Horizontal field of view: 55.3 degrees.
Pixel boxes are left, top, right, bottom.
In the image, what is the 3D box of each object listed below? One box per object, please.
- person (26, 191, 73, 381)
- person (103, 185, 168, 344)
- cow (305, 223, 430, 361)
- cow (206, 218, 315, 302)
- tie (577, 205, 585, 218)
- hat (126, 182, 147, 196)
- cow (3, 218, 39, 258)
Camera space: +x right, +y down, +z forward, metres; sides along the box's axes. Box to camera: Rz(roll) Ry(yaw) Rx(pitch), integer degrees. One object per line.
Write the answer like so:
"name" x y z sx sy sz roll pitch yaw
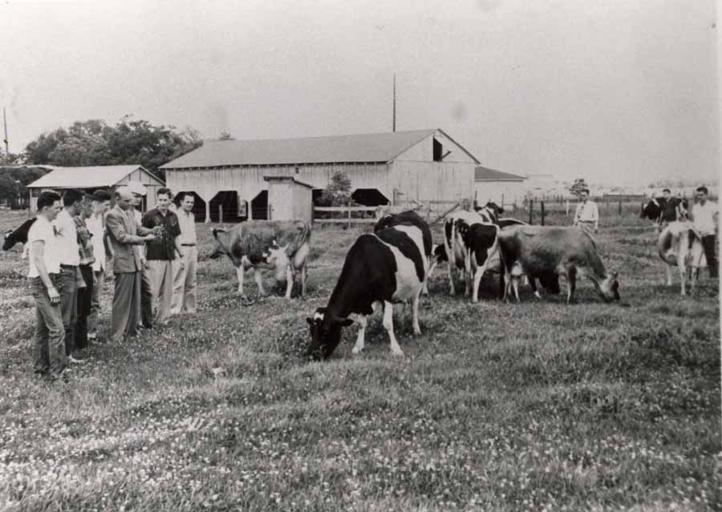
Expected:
"person" -4.860 0.452 10.640 0.563 2.916 0.807 0 1 -27
"person" -3.967 0.114 11.732 0.768 2.634 0.552 0 1 -21
"cow" 0.237 0.556 11.632 1.005 2.205 2.554 1 2 41
"cow" -2.007 0.013 13.991 1.935 1.501 1.070 0 1 -2
"tie" 4.245 -0.874 13.360 0.060 0.238 0.156 11 -10 -15
"hat" -3.913 -1.185 11.985 0.354 0.102 0.330 27 7 31
"cow" -5.675 -0.332 11.434 0.358 0.367 1.274 -19 12 1
